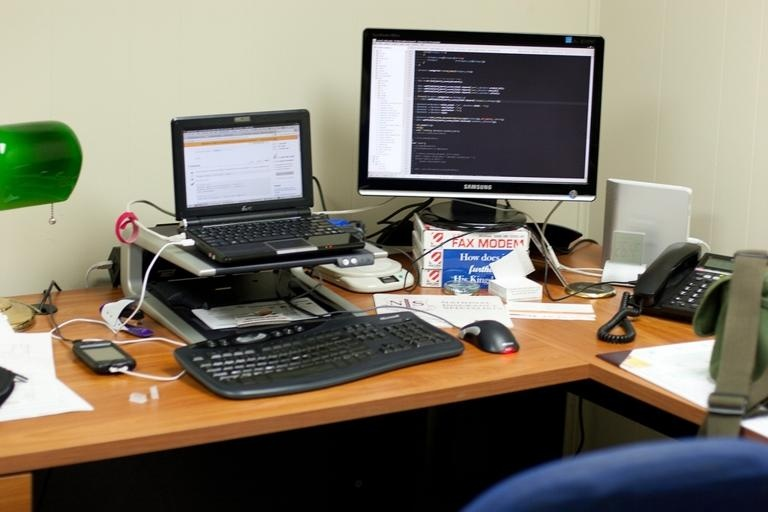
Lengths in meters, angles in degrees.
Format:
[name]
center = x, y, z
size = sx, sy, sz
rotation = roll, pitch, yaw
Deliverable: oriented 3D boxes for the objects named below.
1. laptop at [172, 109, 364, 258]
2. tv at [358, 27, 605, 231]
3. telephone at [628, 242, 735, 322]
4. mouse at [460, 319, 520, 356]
[laptop]
center = -0.270, -0.171, 1.380
size = 0.397, 0.295, 0.326
rotation = -8, 22, -18
[tv]
center = 0.254, -0.363, 1.691
size = 0.869, 0.490, 0.205
rotation = -8, 18, -33
[telephone]
center = 0.746, 0.057, 1.450
size = 0.239, 0.063, 0.197
rotation = -30, 32, -28
[mouse]
center = 0.230, 0.159, 1.308
size = 0.102, 0.043, 0.147
rotation = -10, 14, -20
